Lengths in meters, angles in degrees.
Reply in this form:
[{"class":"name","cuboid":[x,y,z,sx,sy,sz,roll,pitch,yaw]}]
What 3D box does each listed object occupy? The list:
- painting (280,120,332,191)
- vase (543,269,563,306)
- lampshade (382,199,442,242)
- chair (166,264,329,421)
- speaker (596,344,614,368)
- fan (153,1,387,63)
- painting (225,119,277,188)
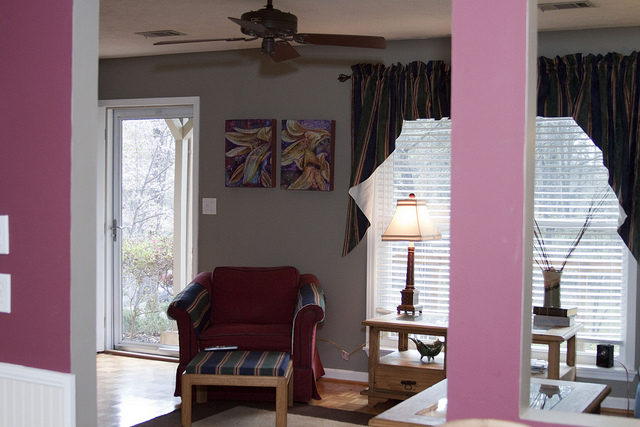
[{"class":"painting","cuboid":[-0.107,-0.540,5.558,0.689,0.885,0.097,2,1,24]},{"class":"vase","cuboid":[1.557,0.496,4.017,0.088,0.245,0.372,-1,-4,30]},{"class":"lampshade","cuboid":[0.725,0.072,4.800,0.424,0.264,0.365,0,3,12]},{"class":"chair","cuboid":[-0.538,0.944,4.756,1.044,0.818,1.195,0,-6,3]},{"class":"speaker","cuboid":[2.189,1.095,4.604,0.186,0.188,0.067,2,-3,-24]},{"class":"fan","cuboid":[-0.260,-1.218,4.110,0.799,0.262,0.793,-3,-5,33]},{"class":"painting","cuboid":[-0.640,-0.576,5.742,0.695,0.862,0.094,1,2,24]}]
